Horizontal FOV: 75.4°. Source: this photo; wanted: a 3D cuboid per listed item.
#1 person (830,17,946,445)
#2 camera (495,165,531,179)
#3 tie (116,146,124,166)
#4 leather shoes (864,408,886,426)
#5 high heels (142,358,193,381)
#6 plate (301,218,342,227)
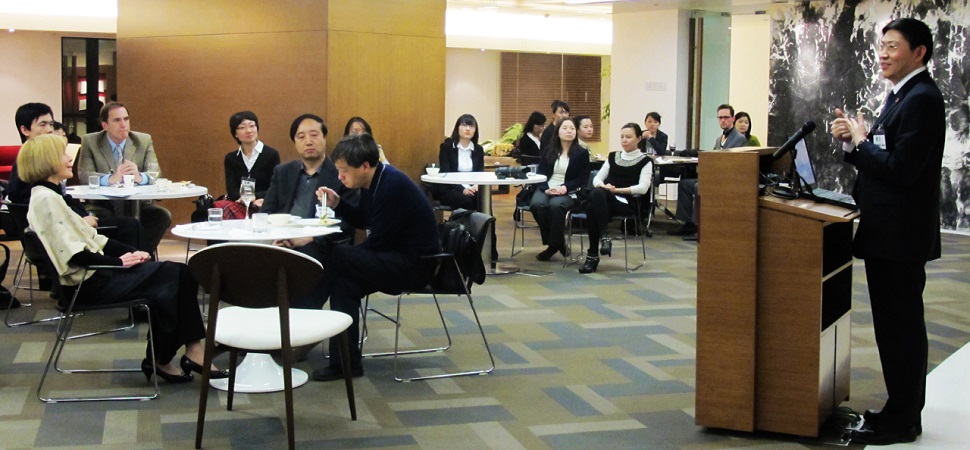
[{"bbox_3d":[3.354,0.078,5.212,0.769,3.479,0.801,1,15,10],"label":"person"},{"bbox_3d":[0.381,-0.735,8.783,0.419,0.111,0.222,0,5,-7],"label":"camera"},{"bbox_3d":[-4.747,-0.892,8.211,0.099,0.248,0.220,2,-1,-18],"label":"tie"},{"bbox_3d":[3.316,1.626,5.352,0.188,0.052,0.157,-15,30,8],"label":"leather shoes"},{"bbox_3d":[-3.006,1.404,6.056,0.480,0.166,0.218,-1,0,-14],"label":"high heels"},{"bbox_3d":[-1.640,-0.029,6.259,0.369,0.073,0.251,-2,11,-4],"label":"plate"}]
